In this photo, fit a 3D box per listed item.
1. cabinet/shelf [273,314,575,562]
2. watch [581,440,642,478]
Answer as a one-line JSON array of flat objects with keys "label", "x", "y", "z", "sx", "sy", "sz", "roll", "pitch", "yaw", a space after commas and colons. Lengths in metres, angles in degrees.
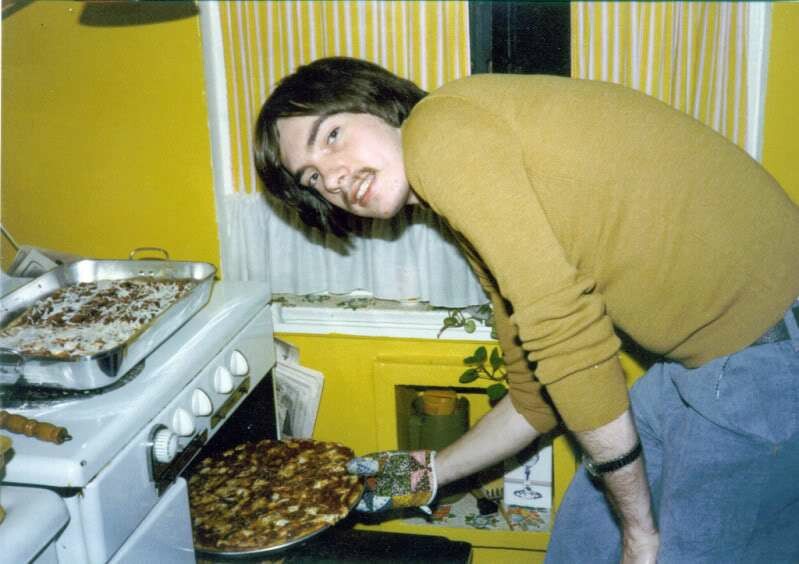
[{"label": "cabinet/shelf", "x": 0.054, "y": 0.435, "z": 1.915, "sx": 0.847, "sy": 0.841, "sz": 0.301, "roll": 0, "pitch": 10, "yaw": 6}, {"label": "watch", "x": 0.410, "y": 0.352, "z": 1.267, "sx": 0.088, "sy": 0.029, "sz": 0.088, "roll": -26, "pitch": -6, "yaw": -7}]
